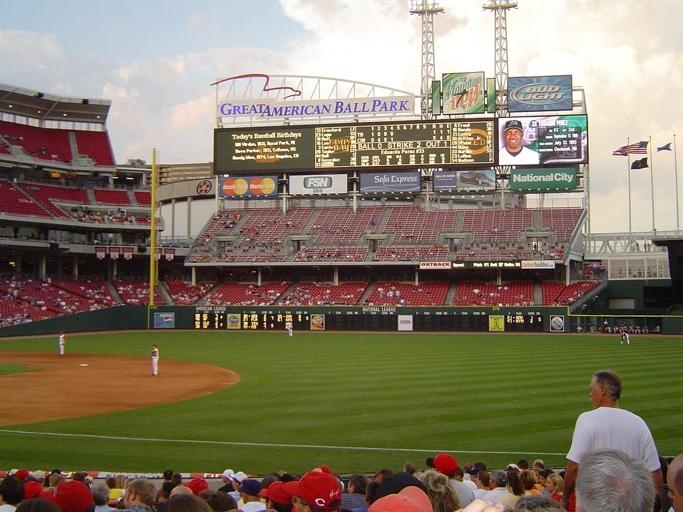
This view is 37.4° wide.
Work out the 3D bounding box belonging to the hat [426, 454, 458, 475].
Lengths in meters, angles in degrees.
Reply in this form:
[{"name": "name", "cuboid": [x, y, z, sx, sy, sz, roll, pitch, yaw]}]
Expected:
[{"name": "hat", "cuboid": [4.092, 8.405, 41.388, 0.827, 0.531, 1.154, -12, 20, -19]}]
